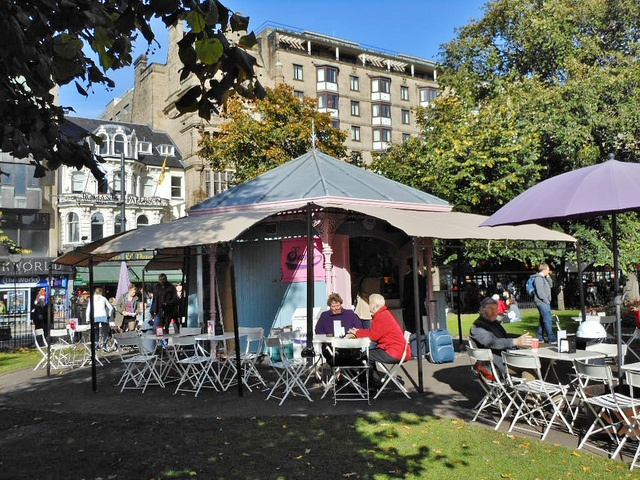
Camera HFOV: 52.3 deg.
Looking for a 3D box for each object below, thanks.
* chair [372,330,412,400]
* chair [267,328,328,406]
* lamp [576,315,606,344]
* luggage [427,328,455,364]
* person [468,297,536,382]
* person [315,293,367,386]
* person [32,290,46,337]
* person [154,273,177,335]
[{"bbox_3d":[1.523,2.696,13.821,1.168,1.759,1.084,0,-6,0],"label":"chair"},{"bbox_3d":[-0.651,2.706,14.300,1.431,2.053,1.199,3,-4,-31],"label":"chair"},{"bbox_3d":[5.314,1.746,12.771,0.814,0.590,1.095,-3,-8,16],"label":"lamp"},{"bbox_3d":[3.087,2.687,16.665,0.597,0.858,0.701,-6,-3,-11],"label":"luggage"},{"bbox_3d":[3.366,2.117,12.240,0.766,1.999,1.118,-13,4,-13],"label":"person"},{"bbox_3d":[0.402,1.947,14.333,1.054,1.495,0.904,-7,5,-4],"label":"person"},{"bbox_3d":[-10.079,2.562,23.407,0.394,1.758,0.454,13,19,4],"label":"person"},{"bbox_3d":[-4.291,1.745,18.019,0.652,1.600,1.764,-2,1,-14],"label":"person"}]
